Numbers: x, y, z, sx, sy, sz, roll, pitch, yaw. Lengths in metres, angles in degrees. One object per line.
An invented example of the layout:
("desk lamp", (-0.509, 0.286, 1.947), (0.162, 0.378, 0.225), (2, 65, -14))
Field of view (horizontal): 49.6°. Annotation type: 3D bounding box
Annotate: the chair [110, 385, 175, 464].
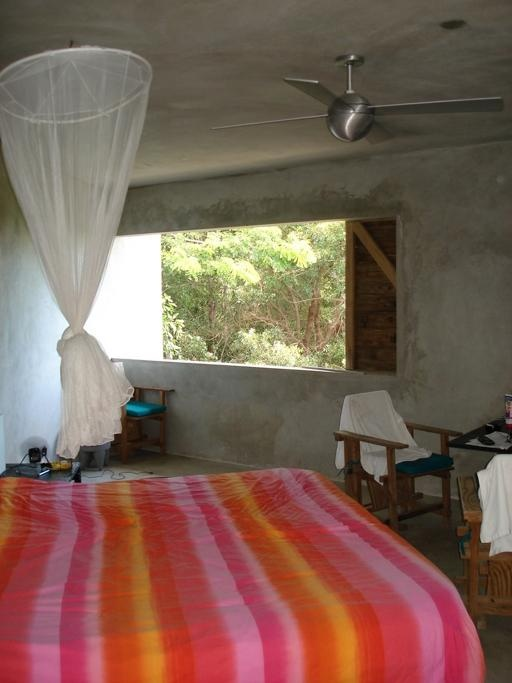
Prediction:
("chair", (-1.262, 0.820, 5.605), (0.693, 0.677, 0.619), (2, 4, 39))
